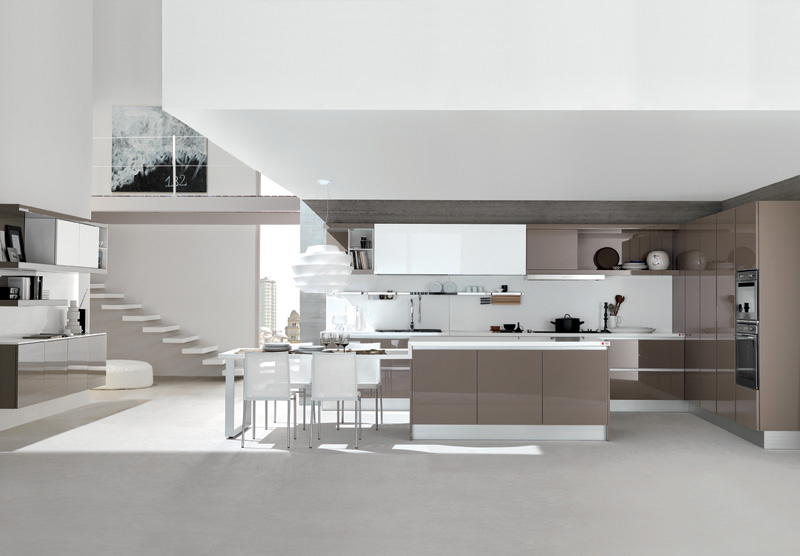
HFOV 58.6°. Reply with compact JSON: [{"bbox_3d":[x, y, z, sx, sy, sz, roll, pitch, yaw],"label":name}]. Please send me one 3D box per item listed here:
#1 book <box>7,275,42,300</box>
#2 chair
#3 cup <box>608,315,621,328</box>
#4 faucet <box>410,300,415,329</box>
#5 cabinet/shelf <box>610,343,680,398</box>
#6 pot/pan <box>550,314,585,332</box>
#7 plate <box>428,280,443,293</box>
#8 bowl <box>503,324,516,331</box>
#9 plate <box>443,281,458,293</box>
[{"bbox_3d":[-4.516,0.108,8.681,0.223,0.434,0.445,-4,-5,6],"label":"book"},{"bbox_3d":[-1.062,1.349,8.463,1.621,1.195,1.110,-1,10,-1],"label":"chair"},{"bbox_3d":[3.077,0.617,10.300,0.154,0.171,0.224,4,10,24],"label":"cup"},{"bbox_3d":[0.182,0.508,10.366,0.063,0.423,0.083,-1,9,-3],"label":"faucet"},{"bbox_3d":[3.378,1.224,9.738,0.737,0.727,0.247,0,-3,5],"label":"cabinet/shelf"},{"bbox_3d":[2.407,0.681,10.251,0.363,0.219,0.216,0,-5,3],"label":"pot/pan"},{"bbox_3d":[0.502,0.101,10.373,0.199,0.169,0.186,6,12,34],"label":"plate"},{"bbox_3d":[1.591,0.704,10.307,0.109,0.078,0.113,1,-2,0],"label":"bowl"},{"bbox_3d":[0.726,0.126,10.440,0.153,0.163,0.066,-2,2,-1],"label":"plate"}]
